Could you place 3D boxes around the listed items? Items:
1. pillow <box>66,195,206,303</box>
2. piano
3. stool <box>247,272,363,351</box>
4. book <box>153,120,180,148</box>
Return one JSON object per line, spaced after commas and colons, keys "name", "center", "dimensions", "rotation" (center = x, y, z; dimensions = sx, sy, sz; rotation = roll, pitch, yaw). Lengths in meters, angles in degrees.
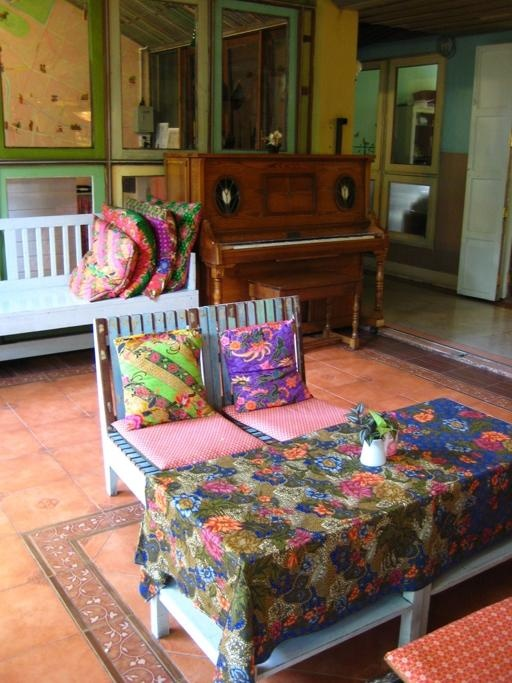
{"name": "pillow", "center": [-0.940, -0.739, 4.332], "dimensions": [1.071, 0.804, 0.583], "rotation": [-4, 10, -19]}
{"name": "piano", "center": [0.128, -0.920, 4.686], "dimensions": [1.795, 1.508, 0.933], "rotation": [-6, 13, -27]}
{"name": "stool", "center": [0.460, -0.227, 5.014], "dimensions": [0.937, 0.617, 0.486], "rotation": [-9, 7, -32]}
{"name": "book", "center": [-0.821, -1.870, 4.953], "dimensions": [0.240, 0.247, 0.220], "rotation": [-1, 42, -13]}
